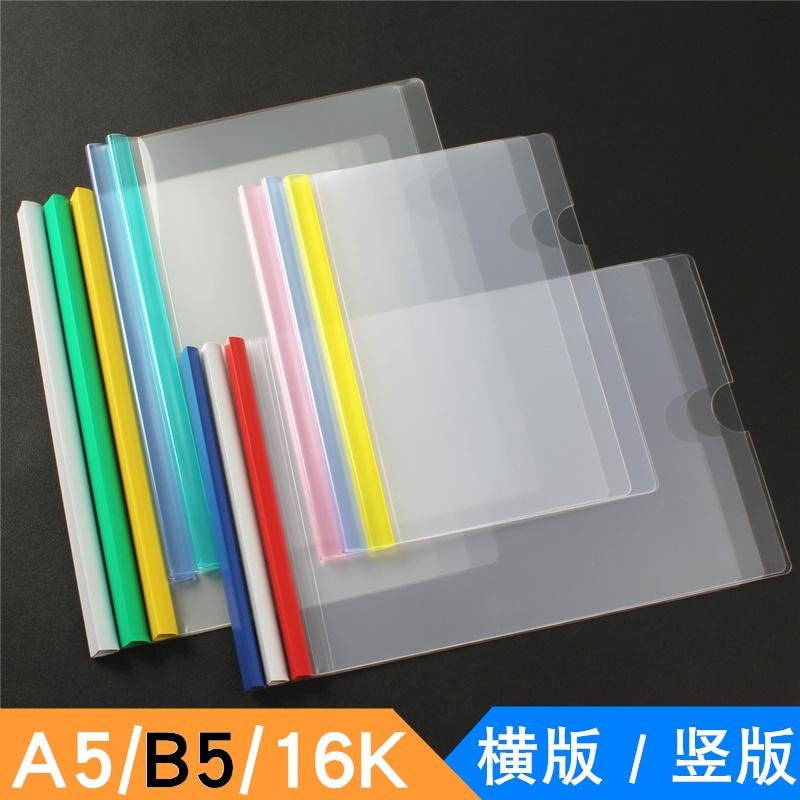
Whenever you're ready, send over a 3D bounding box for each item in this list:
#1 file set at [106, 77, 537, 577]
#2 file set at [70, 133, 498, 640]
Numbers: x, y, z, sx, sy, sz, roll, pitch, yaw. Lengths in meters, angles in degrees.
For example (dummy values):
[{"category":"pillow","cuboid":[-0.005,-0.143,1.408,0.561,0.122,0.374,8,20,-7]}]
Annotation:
[{"category":"file set","cuboid":[-0.166,-0.281,1.642,0.535,0.145,0.650,-11,82,-11]},{"category":"file set","cuboid":[-0.137,0.087,1.485,0.404,0.608,0.091,-18,49,-12]}]
